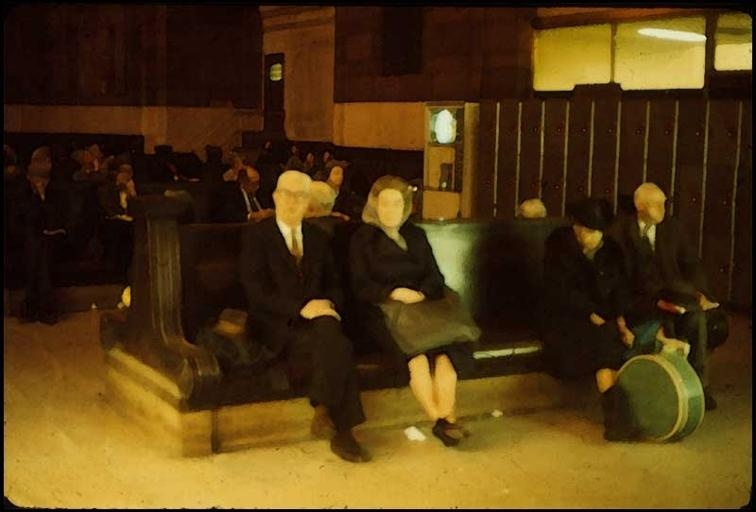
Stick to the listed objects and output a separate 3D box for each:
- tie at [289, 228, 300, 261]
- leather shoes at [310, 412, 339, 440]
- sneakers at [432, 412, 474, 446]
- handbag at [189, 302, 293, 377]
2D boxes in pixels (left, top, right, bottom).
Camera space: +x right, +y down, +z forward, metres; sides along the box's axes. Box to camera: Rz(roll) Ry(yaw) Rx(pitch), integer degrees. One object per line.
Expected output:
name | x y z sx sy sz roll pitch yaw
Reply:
tie | -0.577 -0.093 4.429 0.041 0.171 0.098 -6 5 3
leather shoes | -0.387 1.174 4.324 0.164 0.190 0.053 -17 0 14
sneakers | 0.508 1.225 4.405 0.234 0.071 0.185 37 60 16
handbag | -0.957 0.570 4.257 0.486 0.177 0.373 12 16 1
